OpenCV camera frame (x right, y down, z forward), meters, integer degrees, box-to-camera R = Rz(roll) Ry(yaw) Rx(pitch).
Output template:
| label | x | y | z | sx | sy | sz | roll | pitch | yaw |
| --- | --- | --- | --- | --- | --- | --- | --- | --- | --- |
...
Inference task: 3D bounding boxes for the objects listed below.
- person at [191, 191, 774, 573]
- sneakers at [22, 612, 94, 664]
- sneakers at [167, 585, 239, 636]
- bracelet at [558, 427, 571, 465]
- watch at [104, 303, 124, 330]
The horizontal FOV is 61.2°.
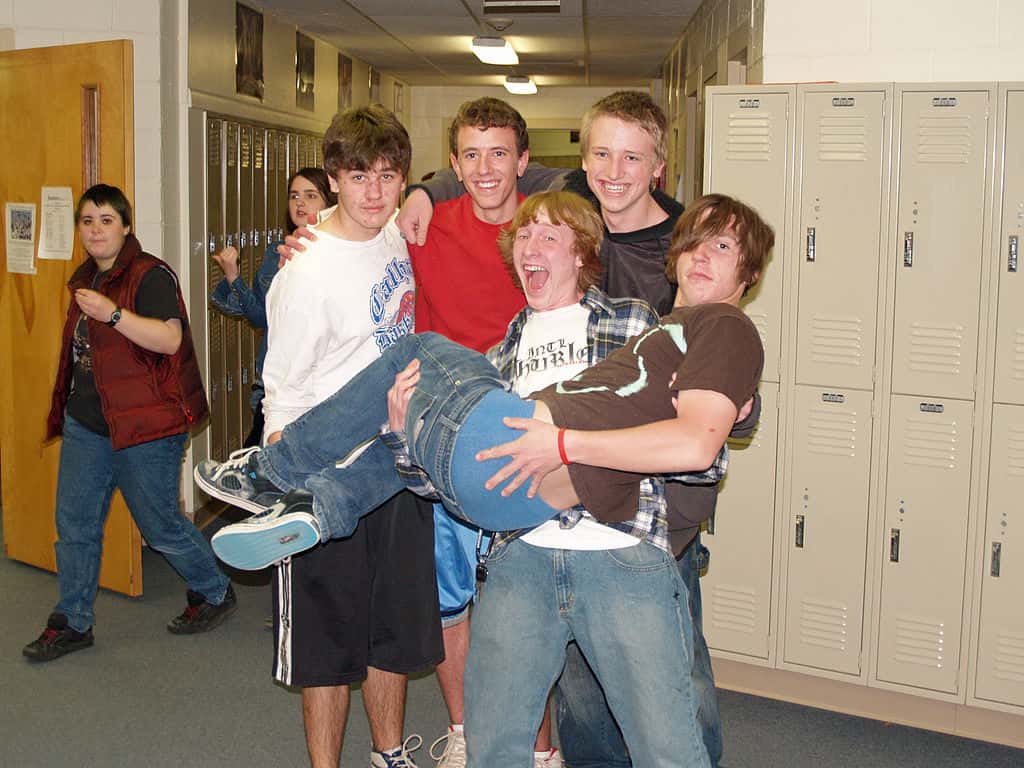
| label | x | y | z | sx | sy | sz | roll | pitch | yaw |
| --- | --- | --- | --- | --- | --- | --- | --- | --- | --- |
| person | -0.020 | 0.054 | 3.062 | 1.798 | 1.177 | 1.033 | 0 | -3 | 16 |
| sneakers | -2.324 | 1.294 | 4.457 | 0.129 | 0.207 | 0.349 | -1 | -1 | 25 |
| sneakers | -1.687 | 1.225 | 4.743 | 0.164 | 0.169 | 0.359 | 5 | 8 | 25 |
| bracelet | 0.143 | 0.168 | 2.391 | 0.033 | 0.087 | 0.029 | 2 | 14 | -1 |
| watch | -1.975 | -0.342 | 4.310 | 0.110 | 0.072 | 0.101 | -36 | 21 | -31 |
